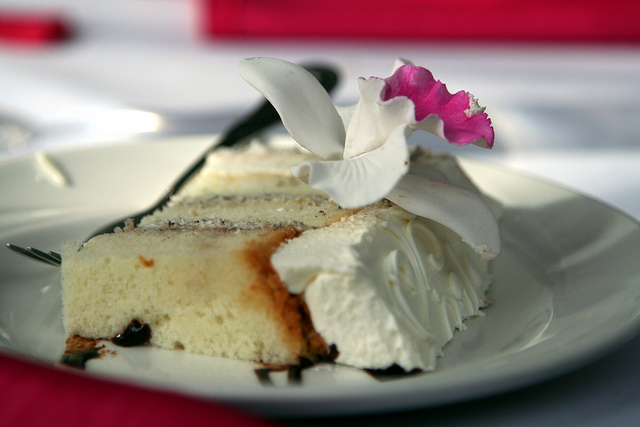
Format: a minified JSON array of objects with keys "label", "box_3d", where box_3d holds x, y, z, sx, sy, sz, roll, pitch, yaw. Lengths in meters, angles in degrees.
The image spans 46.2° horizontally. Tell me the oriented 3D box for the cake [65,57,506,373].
[{"label":"cake","box_3d":[-0.038,0.020,1.410,0.629,0.411,0.649,4,19,16]}]
